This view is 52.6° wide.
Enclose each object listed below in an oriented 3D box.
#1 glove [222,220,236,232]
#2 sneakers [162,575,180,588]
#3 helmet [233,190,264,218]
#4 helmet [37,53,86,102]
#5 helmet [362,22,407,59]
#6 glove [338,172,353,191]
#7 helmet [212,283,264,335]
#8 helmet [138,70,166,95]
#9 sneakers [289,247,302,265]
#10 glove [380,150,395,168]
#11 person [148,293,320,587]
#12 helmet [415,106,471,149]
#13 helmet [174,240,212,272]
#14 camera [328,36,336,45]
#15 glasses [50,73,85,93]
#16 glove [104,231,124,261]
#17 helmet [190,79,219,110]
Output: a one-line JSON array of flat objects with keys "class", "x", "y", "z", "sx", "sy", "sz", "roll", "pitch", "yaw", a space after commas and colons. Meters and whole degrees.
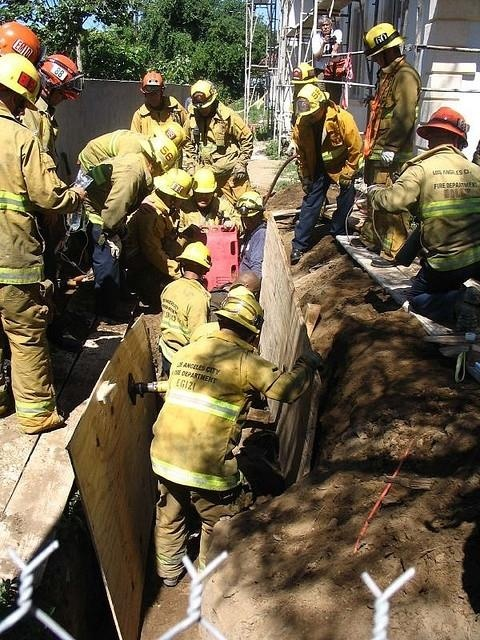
[{"class": "glove", "x": -0.154, "y": -1.251, "z": 6.549, "sx": 0.163, "sy": 0.135, "sz": 0.211, "roll": 12, "pitch": 15, "yaw": 29}, {"class": "sneakers", "x": -0.482, "y": 1.764, "z": 3.314, "sx": 0.088, "sy": 0.112, "sz": 0.076, "roll": 8, "pitch": 55, "yaw": 2}, {"class": "helmet", "x": 0.156, "y": -1.598, "z": 6.805, "sx": 0.393, "sy": 0.348, "sz": 0.311, "roll": -4, "pitch": 19, "yaw": -18}, {"class": "helmet", "x": -1.621, "y": -2.214, "z": 4.352, "sx": 0.413, "sy": 0.360, "sz": 0.315, "roll": 17, "pitch": 48, "yaw": -8}, {"class": "helmet", "x": 1.360, "y": -2.609, "z": 4.607, "sx": 0.353, "sy": 0.203, "sz": 0.263, "roll": -14, "pitch": 39, "yaw": 28}, {"class": "glove", "x": 1.219, "y": -1.592, "z": 5.607, "sx": 0.176, "sy": 0.193, "sz": 0.203, "roll": 5, "pitch": 18, "yaw": 9}, {"class": "helmet", "x": 0.014, "y": -0.032, "z": 3.033, "sx": 0.246, "sy": 0.320, "sz": 0.167, "roll": 35, "pitch": 71, "yaw": 5}, {"class": "helmet", "x": -1.342, "y": -3.519, "z": 7.200, "sx": 0.316, "sy": 0.364, "sz": 0.412, "roll": 0, "pitch": 36, "yaw": 1}, {"class": "sneakers", "x": 0.743, "y": -0.841, "z": 6.425, "sx": 0.090, "sy": 0.264, "sz": 0.119, "roll": 10, "pitch": 49, "yaw": 10}, {"class": "glove", "x": 1.352, "y": -1.472, "z": 4.493, "sx": 0.111, "sy": 0.142, "sz": 0.048, "roll": 4, "pitch": -1, "yaw": -12}, {"class": "person", "x": -0.109, "y": 0.897, "z": 2.965, "sx": 0.849, "sy": 2.019, "sz": 0.671, "roll": -1, "pitch": 19, "yaw": -11}, {"class": "helmet", "x": 1.486, "y": -1.444, "z": 3.536, "sx": 0.295, "sy": 0.176, "sz": 0.265, "roll": 16, "pitch": 16, "yaw": -1}, {"class": "helmet", "x": -0.379, "y": -0.568, "z": 4.435, "sx": 0.234, "sy": 0.177, "sz": 0.294, "roll": 12, "pitch": -17, "yaw": 21}, {"class": "camera", "x": 1.885, "y": -5.715, "z": 9.997, "sx": 0.115, "sy": 0.105, "sz": 0.193, "roll": -3, "pitch": 28, "yaw": 5}, {"class": "glasses", "x": -1.536, "y": -2.090, "z": 4.348, "sx": 0.255, "sy": 0.144, "sz": 0.182, "roll": 0, "pitch": 36, "yaw": -4}, {"class": "glove", "x": -1.247, "y": -0.745, "z": 4.814, "sx": 0.164, "sy": 0.238, "sz": 0.062, "roll": -3, "pitch": 15, "yaw": -4}, {"class": "helmet", "x": -0.548, "y": -3.455, "z": 7.469, "sx": 0.381, "sy": 0.443, "sz": 0.531, "roll": 1, "pitch": 18, "yaw": -4}]
